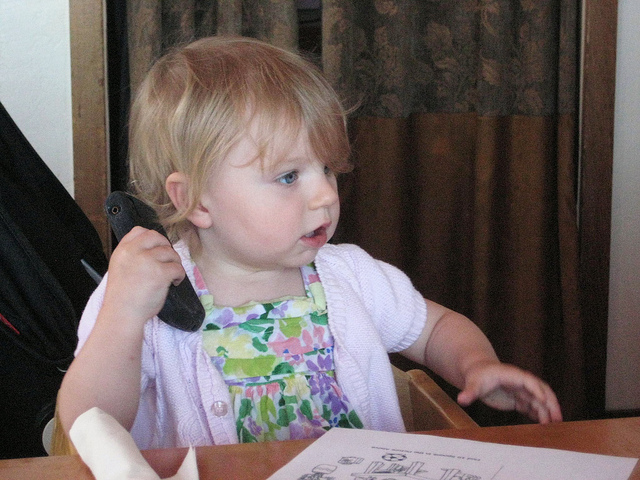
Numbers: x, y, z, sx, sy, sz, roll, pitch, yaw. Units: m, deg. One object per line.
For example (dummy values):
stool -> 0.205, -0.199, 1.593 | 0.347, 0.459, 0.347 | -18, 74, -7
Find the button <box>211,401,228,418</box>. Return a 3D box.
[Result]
button -> -0.180, 0.302, 1.135 | 0.029, 0.022, 0.018 | -2, 31, 5
